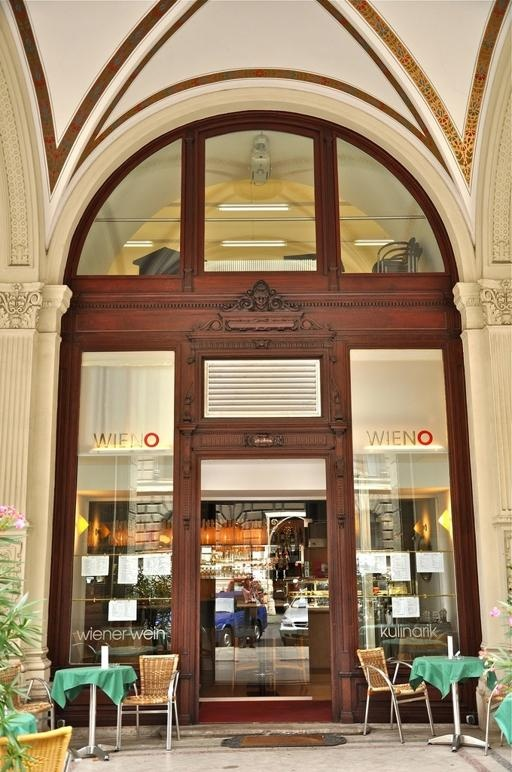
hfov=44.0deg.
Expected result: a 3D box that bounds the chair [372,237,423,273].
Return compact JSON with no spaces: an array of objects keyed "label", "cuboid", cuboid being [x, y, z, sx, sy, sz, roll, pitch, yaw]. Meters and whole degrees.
[{"label":"chair","cuboid":[1.494,-1.289,6.745,0.399,0.563,0.381,1,-10,3]}]

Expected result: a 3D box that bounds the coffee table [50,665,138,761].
[{"label":"coffee table","cuboid":[-1.224,2.469,4.876,0.666,0.613,0.662,-7,-39,6]}]

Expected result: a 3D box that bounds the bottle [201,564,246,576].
[{"label":"bottle","cuboid":[-0.513,2.821,9.598,0.208,0.192,0.804,-16,-21,40]}]

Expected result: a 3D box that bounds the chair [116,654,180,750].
[{"label":"chair","cuboid":[-0.873,2.623,5.219,0.540,0.850,0.608,-3,-36,2]}]
